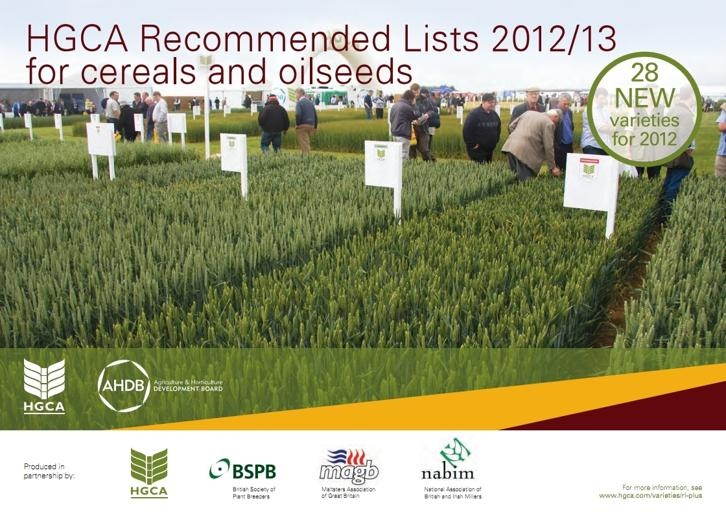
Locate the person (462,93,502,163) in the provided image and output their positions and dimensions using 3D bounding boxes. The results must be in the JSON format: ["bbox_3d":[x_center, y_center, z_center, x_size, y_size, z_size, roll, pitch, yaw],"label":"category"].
[{"bbox_3d":[2.325,-2.499,13.104,0.698,1.175,1.061,-4,-13,10],"label":"person"}]

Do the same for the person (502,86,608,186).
[{"bbox_3d":[3.084,-2.042,11.840,0.896,1.588,1.563,-8,-15,29],"label":"person"}]

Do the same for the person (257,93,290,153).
[{"bbox_3d":[-2.264,-3.418,16.853,0.706,2.103,1.325,0,-13,-7],"label":"person"}]
